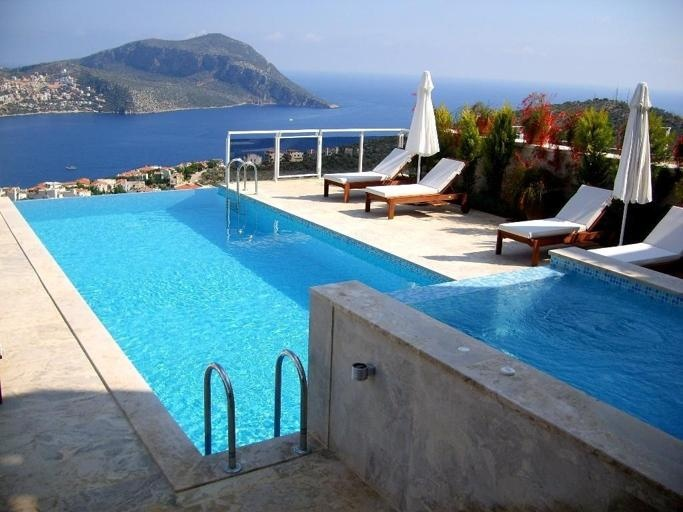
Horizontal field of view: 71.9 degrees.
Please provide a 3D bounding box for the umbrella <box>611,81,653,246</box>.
[{"bbox_3d":[4.065,-1.434,6.539,0.485,1.877,0.380,-6,17,-19],"label":"umbrella"}]

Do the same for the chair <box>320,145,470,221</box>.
[{"bbox_3d":[1.249,-1.413,9.434,2.224,1.099,1.366,-4,19,-24],"label":"chair"}]
